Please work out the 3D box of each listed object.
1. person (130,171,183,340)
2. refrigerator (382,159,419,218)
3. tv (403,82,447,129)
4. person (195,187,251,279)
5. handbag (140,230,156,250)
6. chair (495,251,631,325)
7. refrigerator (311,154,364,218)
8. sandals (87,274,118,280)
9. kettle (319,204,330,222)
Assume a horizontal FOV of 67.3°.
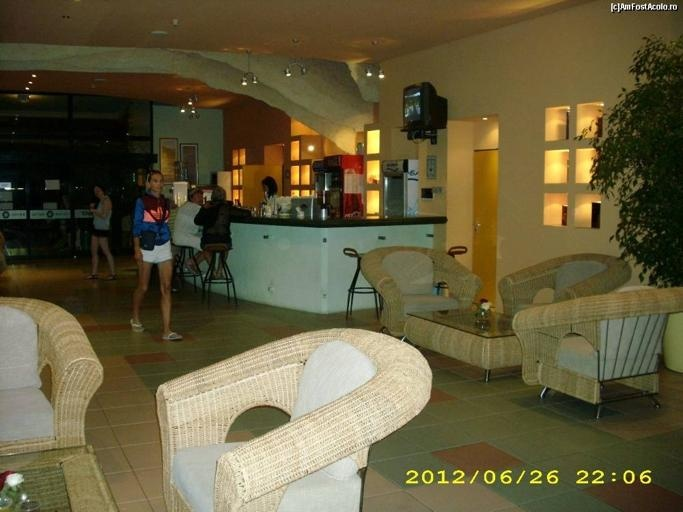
[{"bbox_3d":[-2.265,0.023,5.925,0.660,1.936,0.399,4,8,28],"label":"person"},{"bbox_3d":[0.956,-1.119,8.476,0.499,0.908,0.834,-1,7,-10],"label":"refrigerator"},{"bbox_3d":[1.328,-2.364,8.603,0.712,0.802,0.804,-5,7,-26],"label":"tv"},{"bbox_3d":[-1.957,-0.352,8.212,0.776,1.487,0.752,-1,8,-12],"label":"person"},{"bbox_3d":[-2.176,-0.182,5.713,0.185,0.244,0.123,3,13,-19],"label":"handbag"},{"bbox_3d":[2.517,0.261,5.803,0.985,0.805,0.980,4,0,-24],"label":"chair"},{"bbox_3d":[-0.081,-1.481,10.719,0.974,1.258,0.901,0,7,-1],"label":"refrigerator"},{"bbox_3d":[-4.873,0.432,10.394,0.478,0.116,0.222,4,0,-9],"label":"sandals"},{"bbox_3d":[-0.285,-0.649,7.834,0.243,0.275,0.249,0,0,-3],"label":"kettle"}]
